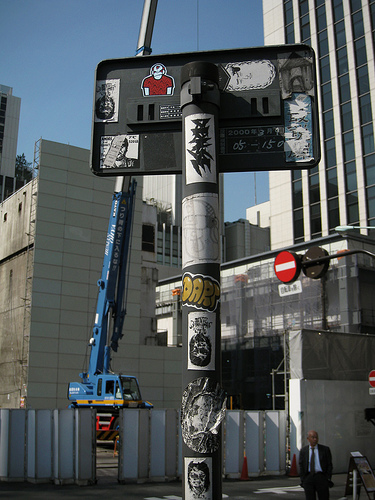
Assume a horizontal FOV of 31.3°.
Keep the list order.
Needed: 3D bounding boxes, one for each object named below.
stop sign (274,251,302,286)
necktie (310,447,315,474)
[{"bbox_3d":[2.510,0.415,17.315,0.692,0.850,0.109,-13,-14,35],"label":"stop sign"},{"bbox_3d":[2.190,3.714,11.874,0.100,0.417,0.122,-3,-10,11],"label":"necktie"}]
